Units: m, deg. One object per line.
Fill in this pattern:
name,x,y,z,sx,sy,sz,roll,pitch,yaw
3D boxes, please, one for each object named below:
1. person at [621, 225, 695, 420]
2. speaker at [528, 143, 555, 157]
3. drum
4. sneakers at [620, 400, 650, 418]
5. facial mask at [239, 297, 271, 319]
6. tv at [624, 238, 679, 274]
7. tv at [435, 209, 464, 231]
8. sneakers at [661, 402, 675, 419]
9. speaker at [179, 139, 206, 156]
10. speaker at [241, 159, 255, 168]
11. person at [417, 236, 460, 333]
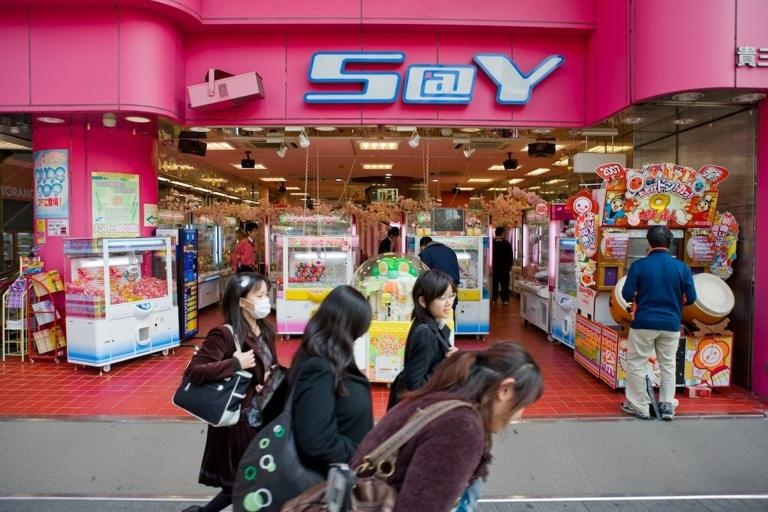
person,3.478,0.814,6.701,0.832,2.407,0.542,1,6,17
speaker,2.861,-1.971,9.554,0.443,0.234,0.341,0,6,13
drum,3.985,0.675,7.293,1.382,0.809,0.496,-3,-39,14
sneakers,3.210,1.966,6.774,0.129,0.154,0.366,0,12,-29
facial mask,-1.240,0.499,5.061,0.235,0.147,0.207,1,2,8
tv,3.597,-0.022,7.007,0.493,0.461,0.174,0,-5,6
tv,1.284,-0.734,10.402,0.725,0.518,0.404,0,-3,1
sneakers,3.581,1.948,6.633,0.191,0.175,0.164,0,6,13
speaker,-3.304,-1.885,8.961,0.377,0.092,0.268,-2,-31,-4
speaker,-2.943,-2.033,11.363,0.356,0.193,0.238,1,-3,3
person,1.075,0.449,9.042,0.792,1.391,1.008,-9,5,-27
